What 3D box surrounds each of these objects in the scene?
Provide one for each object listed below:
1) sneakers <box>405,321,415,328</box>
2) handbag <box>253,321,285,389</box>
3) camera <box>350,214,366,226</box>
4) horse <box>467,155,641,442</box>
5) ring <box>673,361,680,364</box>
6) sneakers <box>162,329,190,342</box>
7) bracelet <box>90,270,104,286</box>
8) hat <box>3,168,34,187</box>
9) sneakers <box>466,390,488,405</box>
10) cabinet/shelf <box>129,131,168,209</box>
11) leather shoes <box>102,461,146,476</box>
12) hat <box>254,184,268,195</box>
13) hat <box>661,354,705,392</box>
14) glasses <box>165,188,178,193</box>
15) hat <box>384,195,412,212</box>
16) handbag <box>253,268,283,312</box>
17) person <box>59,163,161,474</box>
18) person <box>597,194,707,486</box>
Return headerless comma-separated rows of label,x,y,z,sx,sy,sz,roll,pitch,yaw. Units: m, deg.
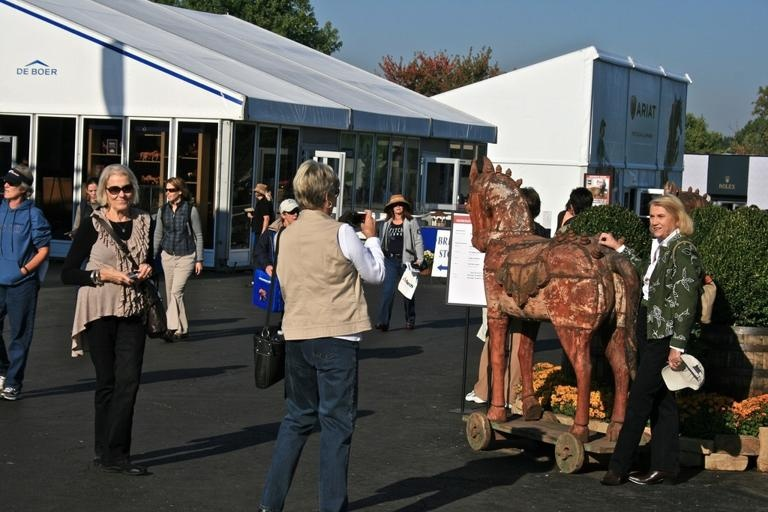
sneakers,0.469,1.199,16.633,0.106,0.138,0.338,0,-3,9
handbag,-1.092,0.948,8.774,0.254,0.509,0.352,5,-3,15
camera,-0.226,-0.329,8.236,0.078,0.099,0.110,4,13,5
horse,1.715,0.456,10.196,0.904,2.813,2.663,-4,9,-35
ring,2.800,1.014,9.000,0.039,0.040,0.013,36,7,22
sneakers,-3.244,1.219,14.710,0.435,0.163,0.284,-2,7,-27
bracelet,-2.778,0.206,9.095,0.123,0.140,0.043,1,5,-1
hat,-4.392,-0.916,11.337,0.224,0.153,0.315,14,6,31
sneakers,1.143,1.756,11.880,0.119,0.147,0.299,-2,10,-32
cabinet/shelf,-5.795,-2.335,23.203,0.607,1.707,0.234,6,-7,30
leather shoes,-2.534,2.044,9.218,0.408,0.149,0.169,1,1,6
hat,-2.776,-1.435,21.217,0.285,0.154,0.392,11,13,-13
hat,2.884,1.131,9.086,0.385,0.402,0.232,4,5,23
glasses,-3.358,-1.051,14.889,0.154,0.057,0.169,1,1,26
hat,0.249,-0.916,16.390,0.430,0.275,0.708,2,6,1
handbag,-1.597,0.462,13.165,0.470,0.478,0.264,8,-2,38
person,-2.668,0.612,9.182,0.783,2.970,0.505,0,5,-15
person,2.759,0.820,9.453,0.769,2.874,0.914,3,5,23
